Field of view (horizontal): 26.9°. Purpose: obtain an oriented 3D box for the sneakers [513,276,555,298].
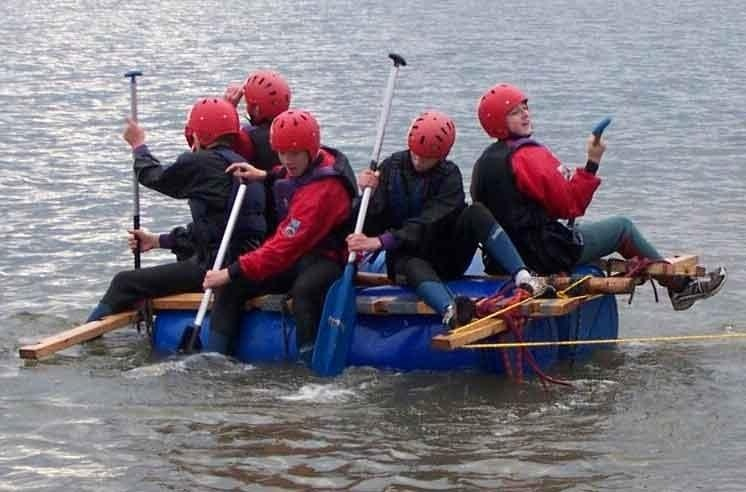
[{"bbox_3d":[2.046,0.533,19.649,0.427,0.112,0.274,12,-1,-16],"label":"sneakers"}]
